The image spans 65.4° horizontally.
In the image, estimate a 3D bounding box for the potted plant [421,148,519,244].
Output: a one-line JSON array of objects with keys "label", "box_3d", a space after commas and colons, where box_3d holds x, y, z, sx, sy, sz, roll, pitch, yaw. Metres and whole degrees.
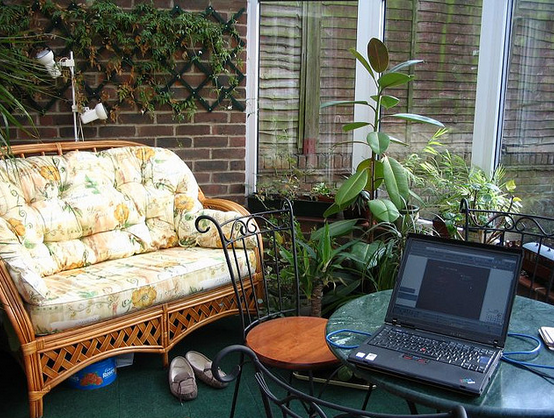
[{"label": "potted plant", "box_3d": [1.193, -0.144, 2.821, 0.669, 0.449, 0.680, 8, 9, 29]}]

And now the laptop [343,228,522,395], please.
[{"label": "laptop", "box_3d": [0.481, 0.294, 1.327, 0.417, 0.332, 0.468, 7, 18, 37]}]

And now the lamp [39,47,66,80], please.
[{"label": "lamp", "box_3d": [-1.486, -0.966, 2.846, 0.126, 0.179, 0.338, -10, 15, -23]}]

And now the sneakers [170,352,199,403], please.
[{"label": "sneakers", "box_3d": [-0.488, 0.852, 2.236, 0.094, 0.058, 0.215, -3, 20, -18]}]

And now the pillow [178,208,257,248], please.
[{"label": "pillow", "box_3d": [-0.416, 0.111, 2.749, 0.346, 0.119, 0.323, 1, 9, 0]}]

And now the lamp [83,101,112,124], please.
[{"label": "lamp", "box_3d": [-1.268, -0.693, 3.018, 0.146, 0.098, 0.088, -16, 58, 5]}]

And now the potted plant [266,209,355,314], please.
[{"label": "potted plant", "box_3d": [0.284, 0.271, 2.700, 0.484, 0.593, 0.587, 4, 23, 13]}]
